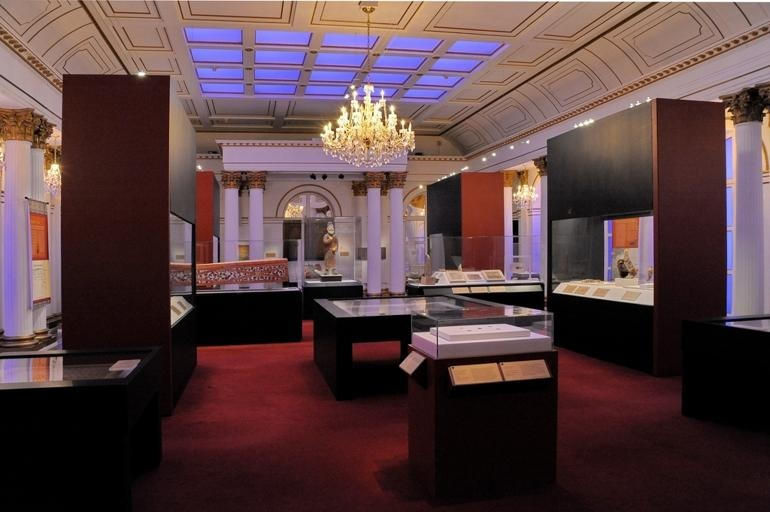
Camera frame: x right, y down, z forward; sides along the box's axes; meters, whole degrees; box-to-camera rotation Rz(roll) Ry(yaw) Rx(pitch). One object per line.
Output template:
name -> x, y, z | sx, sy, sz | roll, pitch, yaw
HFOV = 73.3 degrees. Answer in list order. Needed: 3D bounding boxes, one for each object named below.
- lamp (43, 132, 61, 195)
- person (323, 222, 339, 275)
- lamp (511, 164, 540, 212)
lamp -> -8.243, -2.195, 12.739 | 0.404, 1.437, 2.037 | -8, 13, -33
person -> -1.537, -0.200, 14.285 | 0.378, 1.367, 0.607 | 0, 11, 2
lamp -> 5.180, -2.464, 18.869 | 0.895, 1.744, 2.129 | 2, 12, 14
